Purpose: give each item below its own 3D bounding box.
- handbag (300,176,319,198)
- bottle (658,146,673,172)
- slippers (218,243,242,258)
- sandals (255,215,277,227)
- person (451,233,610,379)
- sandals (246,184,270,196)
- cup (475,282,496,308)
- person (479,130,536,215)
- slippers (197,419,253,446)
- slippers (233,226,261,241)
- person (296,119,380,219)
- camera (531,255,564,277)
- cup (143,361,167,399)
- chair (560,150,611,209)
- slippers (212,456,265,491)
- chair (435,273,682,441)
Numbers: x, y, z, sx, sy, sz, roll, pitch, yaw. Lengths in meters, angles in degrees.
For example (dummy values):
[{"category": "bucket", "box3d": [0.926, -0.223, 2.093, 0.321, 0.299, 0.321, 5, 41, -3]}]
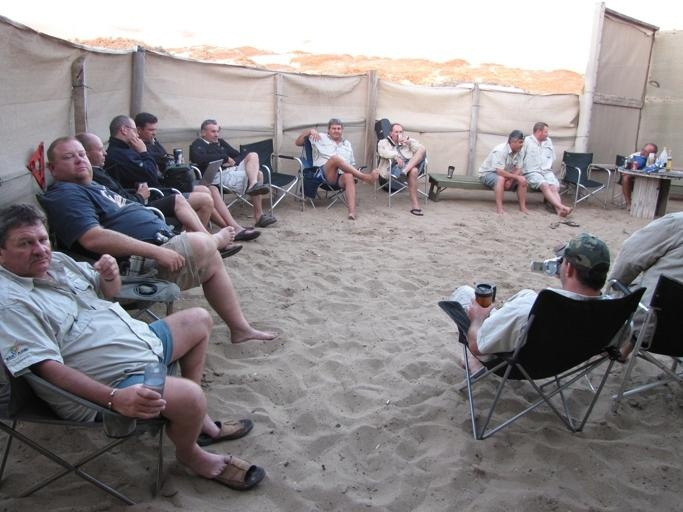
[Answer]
[{"category": "handbag", "box3d": [-0.457, -0.988, 7.664, 0.282, 0.275, 0.155, 24, 34, 37]}, {"category": "bottle", "box3d": [4.853, -1.431, 7.982, 0.211, 0.290, 0.411, 11, 17, 28]}, {"category": "slippers", "box3d": [-1.076, -0.046, 5.144, 0.282, 0.107, 0.094, -15, 22, 6]}, {"category": "sandals", "box3d": [-0.989, -0.445, 6.814, 0.147, 0.102, 0.263, -1, -10, -35]}, {"category": "person", "box3d": [1.071, 0.366, 3.189, 0.831, 1.084, 0.629, 8, 17, 21]}, {"category": "sandals", "box3d": [-1.085, -0.828, 6.779, 0.324, 0.126, 0.131, -10, -8, 35]}, {"category": "cup", "box3d": [0.880, 0.239, 3.325, 0.107, 0.157, 0.163, 2, 9, 18]}, {"category": "person", "box3d": [2.573, -1.340, 8.364, 0.780, 1.188, 0.682, 6, 17, 13]}, {"category": "slippers", "box3d": [-0.682, 0.992, 3.091, 0.252, 0.083, 0.127, -7, 13, -27]}, {"category": "slippers", "box3d": [-1.073, -0.242, 6.178, 0.340, 0.116, 0.122, -2, 12, 14]}, {"category": "person", "box3d": [-0.003, -1.308, 7.818, 0.968, 1.467, 1.252, 3, 7, -30]}, {"category": "camera", "box3d": [1.251, 0.064, 3.192, 0.154, 0.065, 0.120, 2, 3, -35]}, {"category": "cup", "box3d": [-0.873, 0.588, 2.495, 0.094, 0.183, 0.130, -1, 16, -9]}, {"category": "chair", "box3d": [4.010, -1.322, 8.918, 0.869, 0.918, 0.901, 12, 7, 32]}, {"category": "slippers", "box3d": [-0.534, 1.149, 2.814, 0.263, 0.089, 0.134, 11, 41, 7]}, {"category": "chair", "box3d": [1.380, 0.502, 3.489, 1.061, 0.905, 1.216, -3, 5, -9]}]
